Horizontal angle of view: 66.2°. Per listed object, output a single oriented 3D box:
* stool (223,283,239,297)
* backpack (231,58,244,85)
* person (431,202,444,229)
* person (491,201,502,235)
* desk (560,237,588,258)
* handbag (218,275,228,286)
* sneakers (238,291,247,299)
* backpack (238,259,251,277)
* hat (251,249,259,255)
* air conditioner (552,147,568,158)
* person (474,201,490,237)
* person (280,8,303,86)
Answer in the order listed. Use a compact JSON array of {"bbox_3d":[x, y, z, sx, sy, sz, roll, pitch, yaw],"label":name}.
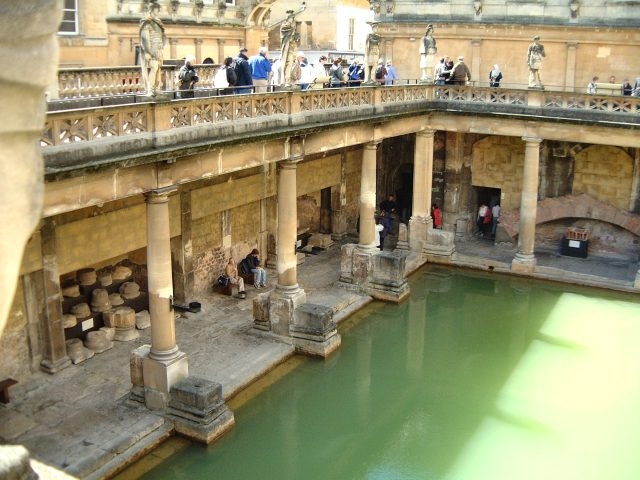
[{"bbox_3d":[-3.479,1.909,19.291,0.463,0.483,0.499,-5,11,14],"label":"stool"},{"bbox_3d":[-2.407,-4.877,14.223,0.271,0.939,0.459,-1,3,-10],"label":"backpack"},{"bbox_3d":[6.356,-1.322,26.684,0.587,1.382,1.194,0,3,15],"label":"person"},{"bbox_3d":[9.519,-0.980,26.479,0.460,1.742,1.065,0,3,17],"label":"person"},{"bbox_3d":[12.641,0.418,24.298,1.006,0.758,1.024,4,4,31],"label":"desk"},{"bbox_3d":[-3.821,1.587,19.258,0.506,0.396,0.205,2,3,41],"label":"handbag"},{"bbox_3d":[-3.022,2.134,19.056,0.225,0.294,0.280,2,-12,-12],"label":"sneakers"},{"bbox_3d":[-3.053,1.140,19.820,0.434,0.614,0.258,16,8,12],"label":"backpack"},{"bbox_3d":[-2.635,0.493,19.885,0.232,0.187,0.188,7,7,35],"label":"hat"},{"bbox_3d":[12.329,-4.487,25.198,0.723,0.459,0.519,8,7,22],"label":"air conditioner"},{"bbox_3d":[9.302,-1.140,27.707,0.836,1.907,1.465,1,3,26],"label":"person"},{"bbox_3d":[-0.945,-5.899,14.996,0.585,2.543,0.928,-1,3,-4],"label":"person"}]
